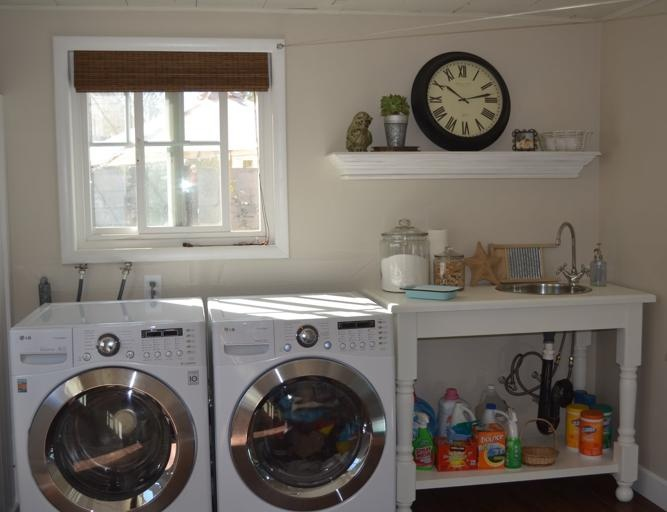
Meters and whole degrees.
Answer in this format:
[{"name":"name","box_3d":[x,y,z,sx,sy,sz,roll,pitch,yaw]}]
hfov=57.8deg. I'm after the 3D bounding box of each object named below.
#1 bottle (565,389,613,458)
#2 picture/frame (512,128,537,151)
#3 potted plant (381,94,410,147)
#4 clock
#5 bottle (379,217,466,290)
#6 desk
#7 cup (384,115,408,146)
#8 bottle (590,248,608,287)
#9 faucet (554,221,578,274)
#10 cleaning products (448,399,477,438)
[{"name":"bottle","box_3d":[1.469,0.943,3.486,0.274,0.322,0.276,0,2,25]},{"name":"picture/frame","box_3d":[1.140,-0.690,3.606,0.120,0.115,0.013,-1,1,-7]},{"name":"potted plant","box_3d":[0.354,-0.772,3.486,0.166,0.317,0.222,-2,5,7]},{"name":"clock","box_3d":[0.722,-0.904,3.547,0.551,0.589,0.068,0,-6,-5]},{"name":"bottle","box_3d":[0.482,-0.008,3.460,0.390,0.494,0.403,0,2,0]},{"name":"desk","box_3d":[0.922,1.055,3.601,1.608,1.435,1.040,-2,10,-10]},{"name":"cup","box_3d":[0.345,-0.702,3.423,0.145,0.181,0.153,-1,3,0]},{"name":"bottle","box_3d":[1.533,0.052,3.513,0.083,0.239,0.097,-2,5,3]},{"name":"faucet","box_3d":[1.372,-0.060,3.572,0.115,0.288,0.396,0,6,22]},{"name":"cleaning products","box_3d":[0.696,0.895,3.323,0.176,0.197,0.137,1,-1,6]}]
